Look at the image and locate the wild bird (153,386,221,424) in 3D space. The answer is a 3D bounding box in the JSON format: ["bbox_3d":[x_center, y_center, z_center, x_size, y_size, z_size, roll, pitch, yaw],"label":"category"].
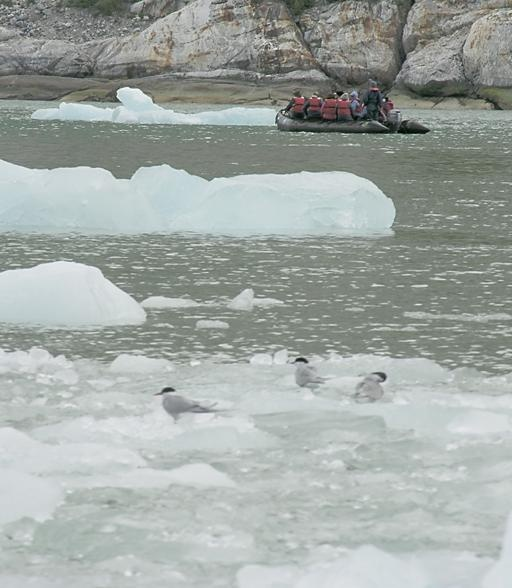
[{"bbox_3d":[-0.350,0.519,4.863,0.244,0.088,0.306,-8,16,-20],"label":"wild bird"}]

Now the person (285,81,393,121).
[{"bbox_3d":[1.991,-5.316,27.287,1.500,0.734,2.769,-6,12,-34],"label":"person"}]

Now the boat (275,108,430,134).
[{"bbox_3d":[2.870,-4.489,26.303,3.235,0.393,1.365,1,5,-4],"label":"boat"}]
